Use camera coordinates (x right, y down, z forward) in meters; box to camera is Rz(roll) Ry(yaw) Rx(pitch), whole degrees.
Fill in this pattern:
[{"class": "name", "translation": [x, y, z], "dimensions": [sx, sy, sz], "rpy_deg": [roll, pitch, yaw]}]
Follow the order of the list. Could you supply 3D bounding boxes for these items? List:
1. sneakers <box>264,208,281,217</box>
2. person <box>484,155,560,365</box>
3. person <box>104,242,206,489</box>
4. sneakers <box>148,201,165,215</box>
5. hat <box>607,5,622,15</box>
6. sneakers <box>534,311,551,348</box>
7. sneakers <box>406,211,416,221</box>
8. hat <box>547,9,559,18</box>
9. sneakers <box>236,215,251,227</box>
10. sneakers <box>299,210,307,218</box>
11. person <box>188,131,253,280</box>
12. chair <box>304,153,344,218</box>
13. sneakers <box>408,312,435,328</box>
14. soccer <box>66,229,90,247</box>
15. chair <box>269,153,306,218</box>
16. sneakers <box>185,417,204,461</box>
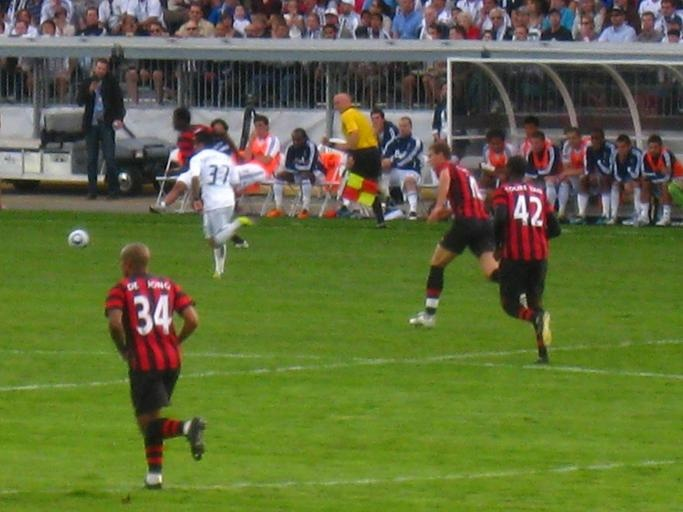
[{"class": "sneakers", "translation": [-1.248, -0.750, 35.876], "dimensions": [0.275, 0.114, 0.143], "rpy_deg": [0, -2, 28]}, {"class": "person", "translation": [2.544, 0.063, 27.558], "dimensions": [0.846, 2.795, 0.845], "rpy_deg": [-1, 5, 8]}, {"class": "person", "translation": [-2.314, 1.351, 24.553], "dimensions": [1.120, 2.934, 0.611], "rpy_deg": [-2, 5, -6]}, {"class": "sneakers", "translation": [-3.204, -0.810, 34.818], "dimensions": [0.248, 0.201, 0.576], "rpy_deg": [-45, 3, -2]}, {"class": "hat", "translation": [5.214, -4.615, 37.946], "dimensions": [0.318, 0.156, 0.489], "rpy_deg": [-1, -2, 11]}, {"class": "sneakers", "translation": [2.767, 0.991, 27.317], "dimensions": [0.183, 0.502, 0.273], "rpy_deg": [-1, 5, 8]}, {"class": "sneakers", "translation": [1.263, -0.685, 35.314], "dimensions": [0.152, 0.151, 0.136], "rpy_deg": [-2, 2, 43]}, {"class": "hat", "translation": [4.036, -4.543, 37.865], "dimensions": [0.245, 0.107, 0.359], "rpy_deg": [1, 9, 6]}, {"class": "sneakers", "translation": [-1.451, -0.521, 30.248], "dimensions": [0.175, 0.085, 0.234], "rpy_deg": [3, -5, 5]}, {"class": "sneakers", "translation": [-0.679, -0.711, 35.511], "dimensions": [0.128, 0.145, 0.158], "rpy_deg": [-5, -22, 19]}, {"class": "person", "translation": [-1.922, -0.768, 30.413], "dimensions": [0.750, 2.243, 0.751], "rpy_deg": [-2, 5, -5]}, {"class": "chair", "translation": [-0.223, -1.343, 36.055], "dimensions": [0.622, 1.252, 1.467], "rpy_deg": [-2, 5, -1]}, {"class": "sneakers", "translation": [1.151, 0.912, 28.623], "dimensions": [0.370, 0.225, 0.182], "rpy_deg": [7, -4, 9]}, {"class": "soccer", "translation": [-3.942, -0.244, 29.892], "dimensions": [0.305, 0.302, 0.302], "rpy_deg": [-10, 0, -7]}, {"class": "chair", "translation": [-0.963, -1.273, 35.918], "dimensions": [0.912, 1.189, 1.250], "rpy_deg": [3, 1, 0]}, {"class": "sneakers", "translation": [-1.760, 2.226, 24.489], "dimensions": [0.199, 0.529, 0.250], "rpy_deg": [-8, 2, -34]}]
